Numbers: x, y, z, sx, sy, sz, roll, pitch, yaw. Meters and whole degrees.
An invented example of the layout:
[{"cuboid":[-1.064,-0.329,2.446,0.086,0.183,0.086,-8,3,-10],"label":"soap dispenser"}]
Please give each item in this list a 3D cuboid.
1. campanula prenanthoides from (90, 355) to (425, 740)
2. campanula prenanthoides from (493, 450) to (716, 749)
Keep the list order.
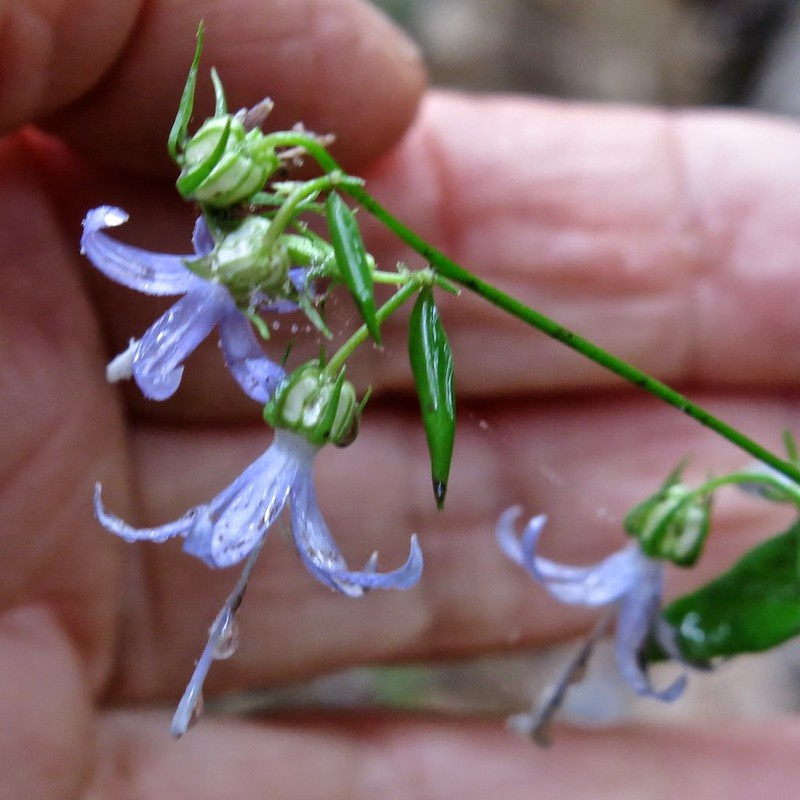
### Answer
[{"cuboid":[-0.068,0.072,0.579,0.154,0.084,0.246,23,90,14],"label":"campanula prenanthoides"},{"cuboid":[0.139,0.138,0.713,0.131,0.090,0.185,34,84,13],"label":"campanula prenanthoides"}]
